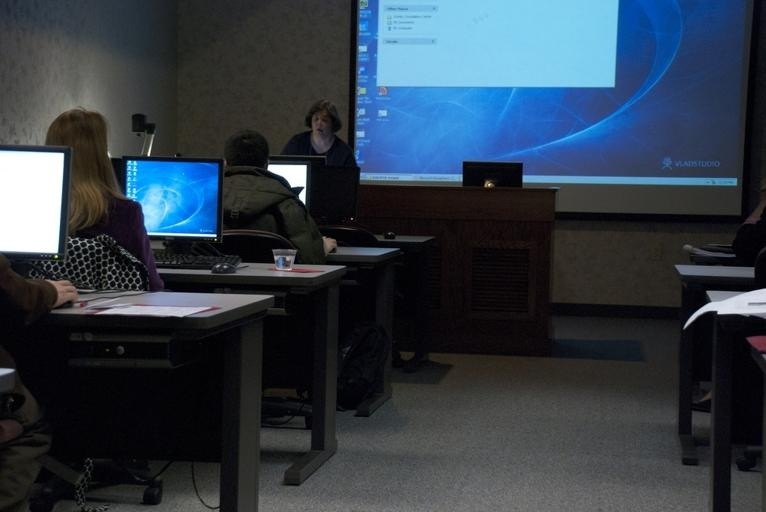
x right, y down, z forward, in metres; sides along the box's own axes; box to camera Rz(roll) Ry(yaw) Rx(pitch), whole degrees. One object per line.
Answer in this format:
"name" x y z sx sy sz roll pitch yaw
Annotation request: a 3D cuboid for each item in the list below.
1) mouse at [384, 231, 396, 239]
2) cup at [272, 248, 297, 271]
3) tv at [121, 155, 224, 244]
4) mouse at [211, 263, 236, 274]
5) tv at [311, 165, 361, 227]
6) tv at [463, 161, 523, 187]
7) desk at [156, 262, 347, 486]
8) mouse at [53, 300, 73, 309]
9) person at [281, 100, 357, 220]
"mouse" 0.053 -0.140 4.440 0.057 0.032 0.056 1 2 -8
"cup" -0.443 0.015 2.892 0.097 0.070 0.096 2 4 0
"tv" -1.000 -0.262 3.070 0.437 0.327 0.035 2 3 13
"mouse" -0.686 0.056 2.739 0.100 0.037 0.077 -1 7 -15
"tv" -0.352 -0.406 4.306 0.410 0.367 0.092 -2 4 8
"tv" 0.882 -0.648 5.061 0.426 0.218 0.267 0 -1 6
"desk" -0.457 0.391 3.090 1.160 1.052 0.874 0 -2 9
"mouse" -1.048 0.156 2.087 0.020 0.014 0.048 5 16 25
"person" -0.399 -0.654 4.606 0.596 0.825 0.534 7 17 17
